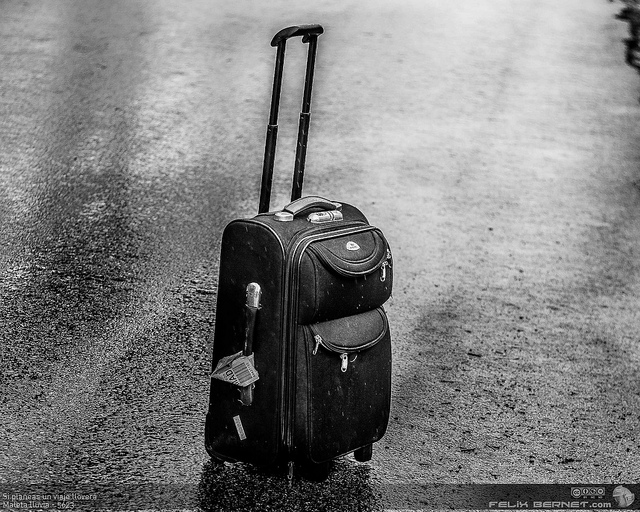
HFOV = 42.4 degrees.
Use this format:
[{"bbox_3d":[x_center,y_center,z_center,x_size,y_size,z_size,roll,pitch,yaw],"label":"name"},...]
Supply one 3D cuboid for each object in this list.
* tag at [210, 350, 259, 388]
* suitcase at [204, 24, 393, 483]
[{"bbox_3d":[-0.221,0.286,2.110,0.104,0.039,0.098,-35,82,2],"label":"tag"},{"bbox_3d":[-0.056,0.226,2.229,0.497,0.679,0.575,2,41,4],"label":"suitcase"}]
